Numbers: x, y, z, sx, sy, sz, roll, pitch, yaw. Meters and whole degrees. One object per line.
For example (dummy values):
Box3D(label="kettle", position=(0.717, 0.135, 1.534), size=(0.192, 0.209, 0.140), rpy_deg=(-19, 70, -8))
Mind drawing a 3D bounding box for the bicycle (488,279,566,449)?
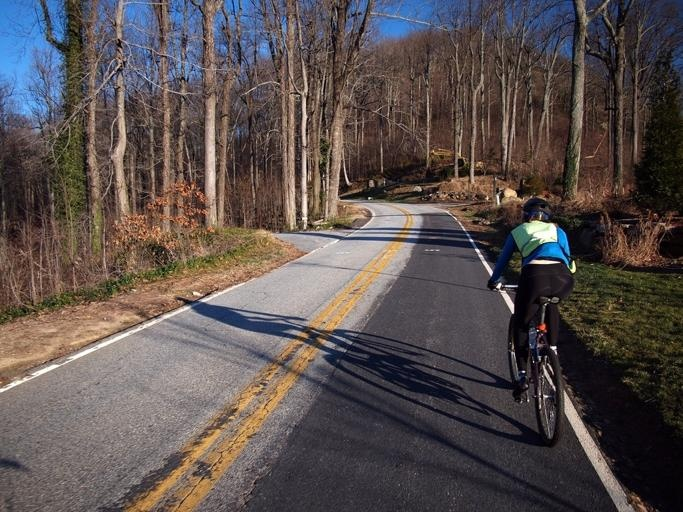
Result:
Box3D(label="bicycle", position=(3.008, 1.598, 8.511), size=(0.544, 2.171, 1.459), rpy_deg=(-1, 8, 1))

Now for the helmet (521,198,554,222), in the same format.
Box3D(label="helmet", position=(3.185, -0.717, 8.990), size=(0.309, 0.479, 0.436), rpy_deg=(0, -9, 5))
